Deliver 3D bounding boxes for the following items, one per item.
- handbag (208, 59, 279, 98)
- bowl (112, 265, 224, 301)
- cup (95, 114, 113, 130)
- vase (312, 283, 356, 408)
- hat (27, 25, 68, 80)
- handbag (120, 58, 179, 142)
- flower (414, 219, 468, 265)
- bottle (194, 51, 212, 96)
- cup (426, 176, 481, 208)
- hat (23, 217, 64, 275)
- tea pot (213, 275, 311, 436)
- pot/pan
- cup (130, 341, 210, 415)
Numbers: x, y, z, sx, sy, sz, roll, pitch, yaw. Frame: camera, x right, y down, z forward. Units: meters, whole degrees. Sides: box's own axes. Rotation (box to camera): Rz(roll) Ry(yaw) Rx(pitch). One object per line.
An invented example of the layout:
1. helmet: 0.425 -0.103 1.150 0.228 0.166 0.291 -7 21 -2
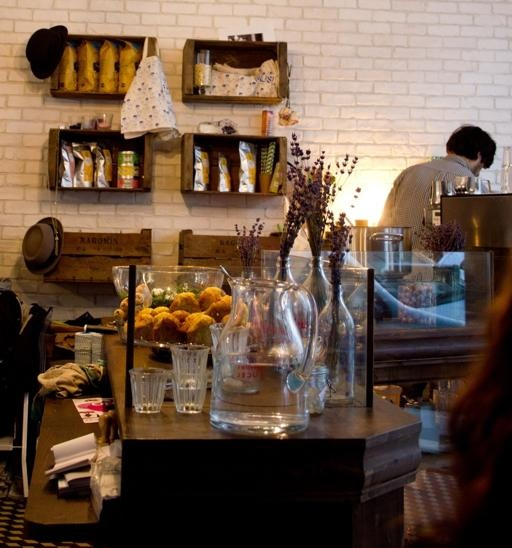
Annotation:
1. handbag: -0.068 -1.098 4.610 0.295 0.261 0.100 5 -21 -1
2. bowl: -0.250 0.014 2.219 0.151 0.083 0.166 0 -2 0
3. cup: -0.825 -0.825 4.379 0.080 0.072 0.075 0 5 0
4. vase: 0.150 0.138 1.569 0.082 0.230 0.077 -2 4 -9
5. hat: -1.116 -1.204 4.367 0.194 0.285 0.094 11 3 28
6. handbag: -0.574 -0.943 4.269 0.286 0.423 0.172 -2 4 -12
7. flower: 0.533 -0.095 2.359 0.120 0.152 0.150 1 -2 -21
8. bottle: -0.304 -1.130 4.513 0.084 0.251 0.085 -1 4 0
9. cup: 0.745 -0.323 3.069 0.187 0.146 0.125 -2 6 3
10. hat: -1.131 -0.145 4.305 0.226 0.285 0.076 -30 -22 32
11. tea pot: 0.056 0.149 1.390 0.223 0.304 0.168 1 -5 8
12. pot/pan: 0.361 -0.072 2.324 0.154 0.159 0.195 -1 3 -39
13. cup: -0.151 0.195 1.508 0.138 0.122 0.102 2 -6 5
